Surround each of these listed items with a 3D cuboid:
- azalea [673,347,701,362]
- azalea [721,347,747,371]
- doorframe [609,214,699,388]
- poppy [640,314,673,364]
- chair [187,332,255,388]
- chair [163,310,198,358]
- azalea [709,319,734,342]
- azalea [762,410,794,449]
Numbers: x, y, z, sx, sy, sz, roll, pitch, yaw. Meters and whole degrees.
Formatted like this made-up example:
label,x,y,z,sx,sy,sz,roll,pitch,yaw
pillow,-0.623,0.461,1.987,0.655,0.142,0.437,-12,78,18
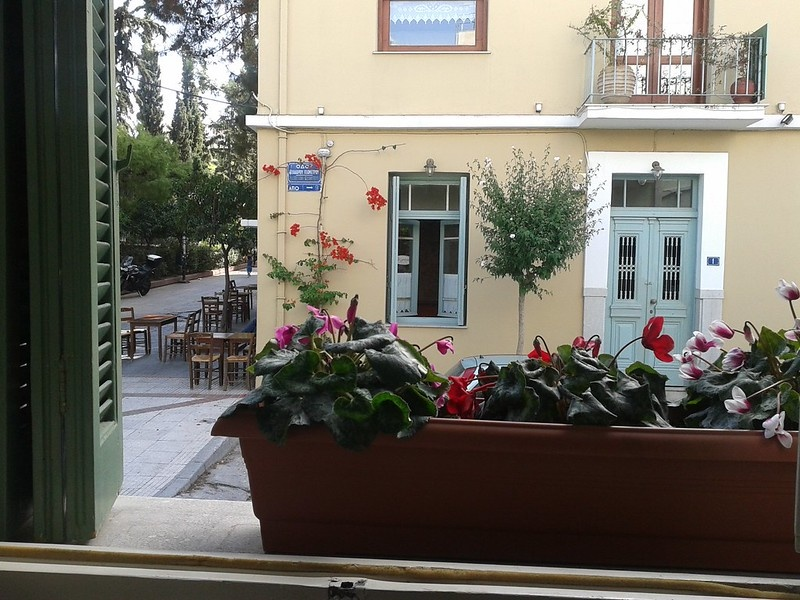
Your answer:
label,x,y,z,sx,sy,sz,roll,pitch,yaw
azalea,0.977,0.188,2.988,0.067,0.035,0.072,-7,5,-36
azalea,1.124,0.204,2.938,0.034,0.074,0.068,6,-30,-18
doorframe,2.696,-0.044,9.431,0.925,1.895,0.181,2,17,13
poppy,0.836,0.137,2.876,0.060,0.154,0.140,-22,-34,36
chair,-2.096,0.719,10.312,0.603,0.419,0.649,3,0,-15
chair,-3.176,0.552,12.606,0.388,0.615,0.438,-3,0,40
azalea,1.095,0.100,2.975,0.075,0.063,0.036,29,32,-12
azalea,1.187,0.399,2.724,0.139,0.125,0.067,-11,13,-43
